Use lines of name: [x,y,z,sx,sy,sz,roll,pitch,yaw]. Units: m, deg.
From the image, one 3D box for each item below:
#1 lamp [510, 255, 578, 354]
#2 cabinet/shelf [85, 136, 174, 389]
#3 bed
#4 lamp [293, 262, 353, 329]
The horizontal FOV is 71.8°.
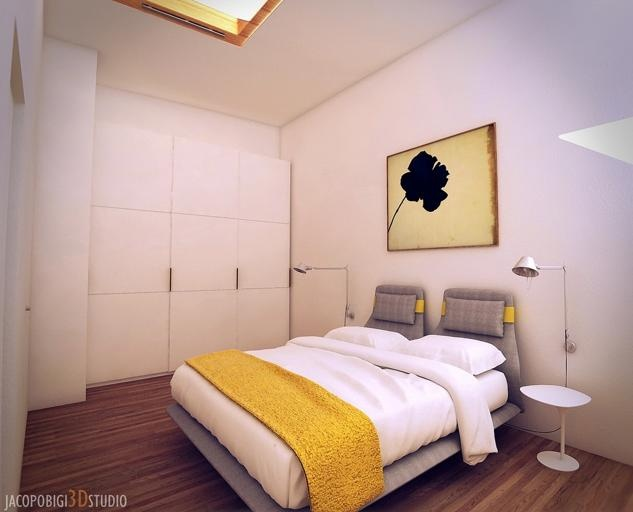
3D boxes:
lamp: [1.598,0.344,3.229,0.478,0.712,0.365,-2,9,-9]
cabinet/shelf: [-1.942,-0.033,4.547,0.892,2.547,0.510,-4,9,-22]
bed: [0.483,0.790,2.997,1.803,0.761,1.555,3,-5,-37]
lamp: [0.092,0.418,4.837,0.636,0.749,0.163,1,31,8]
